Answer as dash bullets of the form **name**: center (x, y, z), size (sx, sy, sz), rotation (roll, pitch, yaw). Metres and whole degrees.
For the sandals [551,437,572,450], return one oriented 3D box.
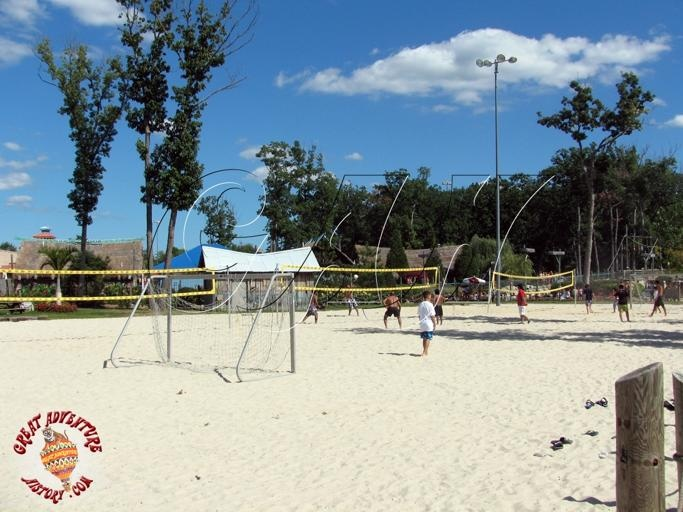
- **sandals**: center (3.330, 2.853, 11.003), size (0.254, 0.085, 0.158), rotation (-7, 6, -33)

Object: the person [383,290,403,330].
- **person**: center (1.783, 1.941, 25.265), size (0.715, 0.555, 1.622), rotation (7, -38, 3)
